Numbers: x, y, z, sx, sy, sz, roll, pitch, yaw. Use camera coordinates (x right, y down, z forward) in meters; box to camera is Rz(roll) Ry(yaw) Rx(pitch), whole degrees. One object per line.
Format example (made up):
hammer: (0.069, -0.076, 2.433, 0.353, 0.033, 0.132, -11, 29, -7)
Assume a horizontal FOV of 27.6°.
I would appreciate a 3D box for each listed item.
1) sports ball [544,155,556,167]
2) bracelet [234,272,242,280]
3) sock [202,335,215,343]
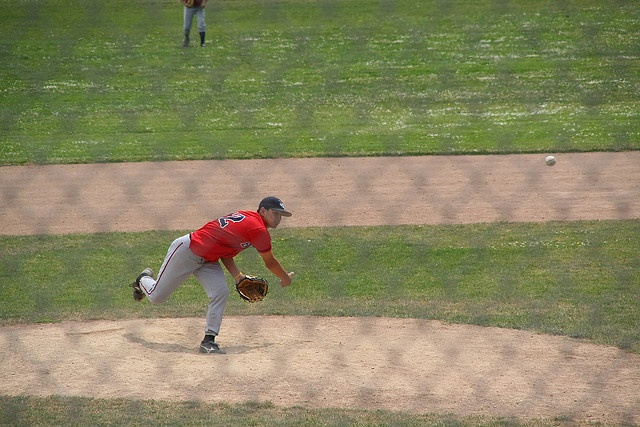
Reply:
sports ball: (5.840, -1.403, 33.031, 0.273, 0.135, 0.250, -3, 69, 8)
bracelet: (-1.737, 1.342, 27.545, 0.070, 0.234, 0.175, 42, 81, 5)
sock: (-2.343, 2.665, 27.184, 0.239, 0.101, 0.158, -2, 80, -3)
